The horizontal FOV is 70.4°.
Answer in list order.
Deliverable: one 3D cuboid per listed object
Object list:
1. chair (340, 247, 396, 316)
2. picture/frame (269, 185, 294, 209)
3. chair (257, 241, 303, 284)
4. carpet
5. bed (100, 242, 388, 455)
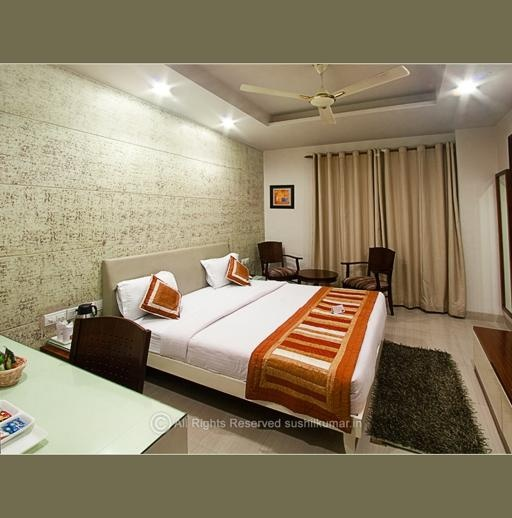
[{"bbox_3d":[1.355,0.253,4.373,0.481,0.718,0.543,-8,13,-27],"label":"chair"},{"bbox_3d":[0.374,-0.922,5.284,0.340,0.289,0.026,6,13,31],"label":"picture/frame"},{"bbox_3d":[0.284,0.109,4.992,0.606,0.665,0.595,3,11,29],"label":"chair"},{"bbox_3d":[1.004,0.713,2.206,0.380,0.044,0.886,4,7,17],"label":"carpet"},{"bbox_3d":[-0.282,0.457,2.533,1.455,0.617,1.379,5,10,27],"label":"bed"}]
